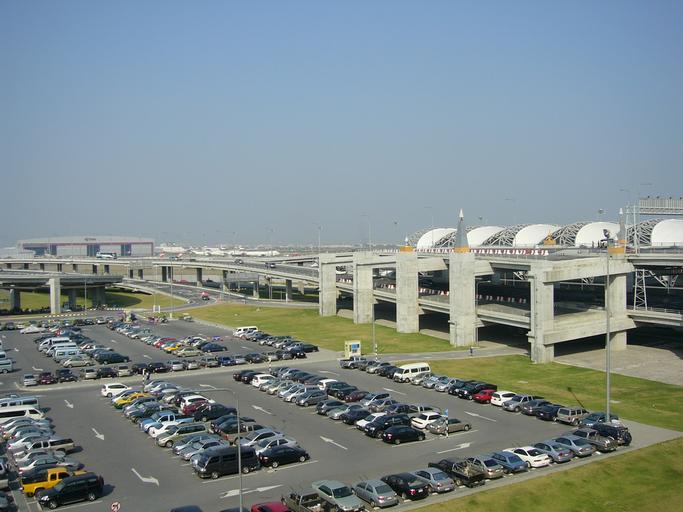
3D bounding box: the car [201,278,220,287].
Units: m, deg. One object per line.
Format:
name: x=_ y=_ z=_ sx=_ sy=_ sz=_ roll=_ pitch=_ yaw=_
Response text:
car: x=-38.350 y=7.897 z=199.059 sx=1.606 sy=1.251 sz=9.950 roll=-13 pitch=7 yaw=-37
